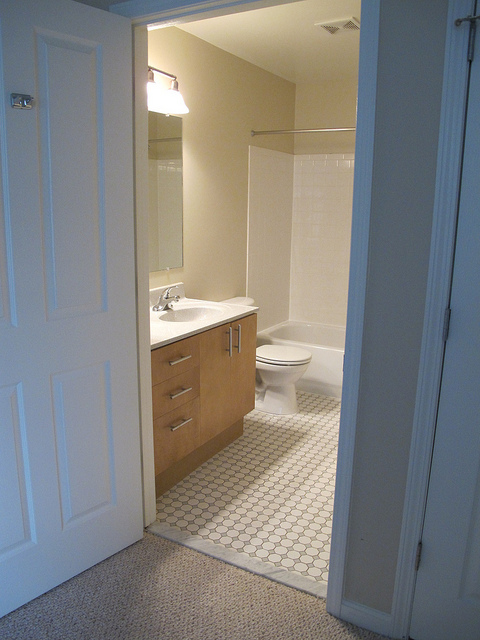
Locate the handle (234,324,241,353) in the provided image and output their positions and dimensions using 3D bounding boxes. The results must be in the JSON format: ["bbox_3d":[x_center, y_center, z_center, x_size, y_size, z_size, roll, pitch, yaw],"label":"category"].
[{"bbox_3d":[-0.008,0.102,2.600,0.025,0.161,0.070,5,11,23],"label":"handle"}]

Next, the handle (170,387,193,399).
[{"bbox_3d":[-0.262,0.318,2.243,0.023,0.024,0.161,3,10,27],"label":"handle"}]

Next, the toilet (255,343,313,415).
[{"bbox_3d":[0.246,0.370,3.247,0.402,0.353,0.366,11,22,26],"label":"toilet"}]

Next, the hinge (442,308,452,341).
[{"bbox_3d":[0.516,0.015,1.244,0.016,0.081,0.014,3,10,16],"label":"hinge"}]

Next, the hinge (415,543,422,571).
[{"bbox_3d":[0.503,0.670,1.413,0.015,0.090,0.010,-4,11,-23],"label":"hinge"}]

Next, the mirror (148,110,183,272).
[{"bbox_3d":[-0.395,-0.671,2.694,0.068,0.815,0.296,4,11,22],"label":"mirror"}]

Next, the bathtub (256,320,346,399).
[{"bbox_3d":[0.465,0.249,3.745,0.626,0.249,0.488,5,13,28],"label":"bathtub"}]

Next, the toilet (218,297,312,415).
[{"bbox_3d":[0.182,0.218,3.283,0.582,0.727,0.370,7,15,30],"label":"toilet"}]

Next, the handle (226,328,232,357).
[{"bbox_3d":[-0.052,0.119,2.532,0.024,0.159,0.064,5,11,22],"label":"handle"}]
